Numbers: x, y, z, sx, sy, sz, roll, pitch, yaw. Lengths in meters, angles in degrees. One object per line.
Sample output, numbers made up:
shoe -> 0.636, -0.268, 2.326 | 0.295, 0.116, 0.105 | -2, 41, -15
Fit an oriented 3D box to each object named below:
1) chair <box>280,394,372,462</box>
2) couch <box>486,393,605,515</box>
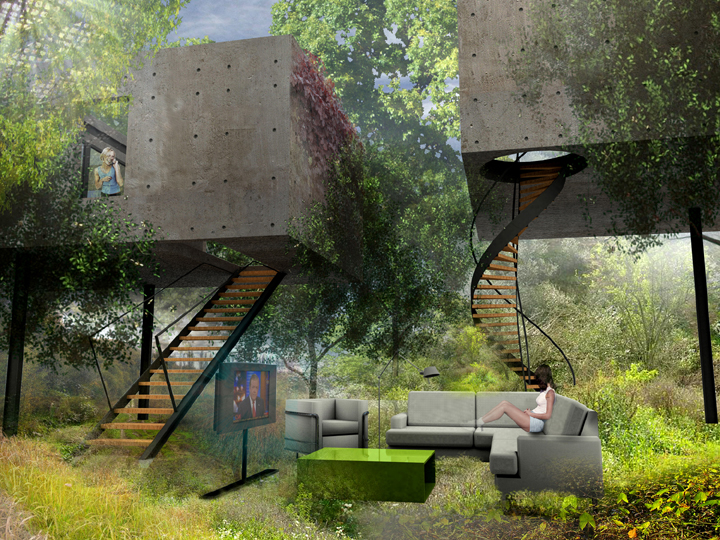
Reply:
chair -> -0.590, 2.732, 11.511 | 1.235, 0.980, 0.898 | 10, -12, -39
couch -> 2.456, 2.161, 9.304 | 1.371, 1.374, 2.876 | 4, 11, 7
